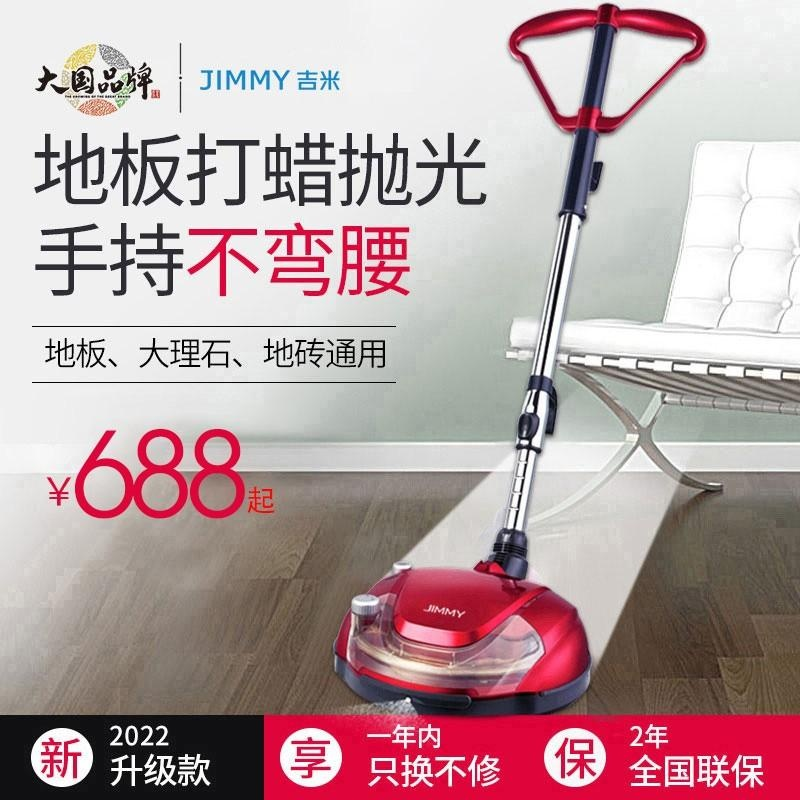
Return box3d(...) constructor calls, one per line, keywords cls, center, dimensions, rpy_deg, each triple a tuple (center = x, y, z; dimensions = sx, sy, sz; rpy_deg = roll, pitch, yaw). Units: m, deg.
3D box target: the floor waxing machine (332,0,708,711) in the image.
box3d(cls="floor waxing machine", center=(0.180, -0.078, 0.976), dimensions=(0.304, 0.840, 0.585), rpy_deg=(14, 21, 19))
